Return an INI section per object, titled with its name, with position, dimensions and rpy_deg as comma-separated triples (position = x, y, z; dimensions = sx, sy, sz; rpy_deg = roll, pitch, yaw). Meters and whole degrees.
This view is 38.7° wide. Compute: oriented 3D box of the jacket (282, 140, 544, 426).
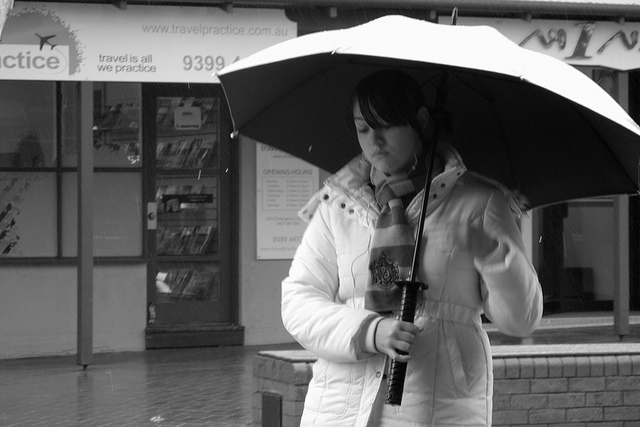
[jacket]
position = 0.546, 0.457, 5.656
dimensions = 1.546, 1.713, 0.500
rpy_deg = -1, 6, -4

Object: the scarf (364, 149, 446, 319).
[scarf]
position = 0.450, 0.125, 5.642
dimensions = 0.438, 1.016, 0.131
rpy_deg = -1, -21, 11
